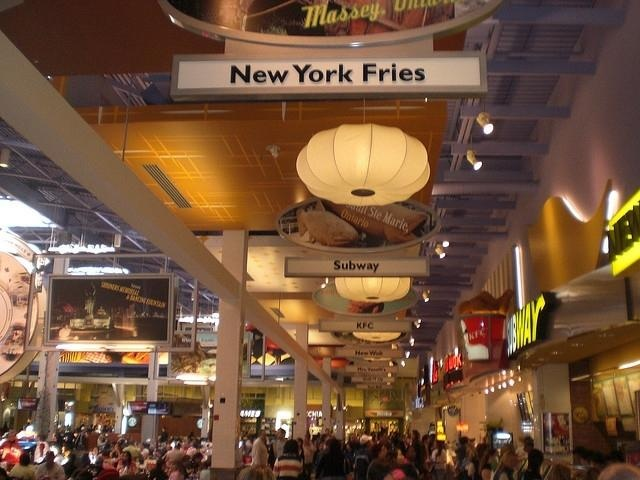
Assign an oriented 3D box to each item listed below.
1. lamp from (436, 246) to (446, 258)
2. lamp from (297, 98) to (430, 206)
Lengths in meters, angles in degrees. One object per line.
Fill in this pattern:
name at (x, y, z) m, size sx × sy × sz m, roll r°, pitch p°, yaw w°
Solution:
lamp at (3.885, 0.360, 17.378) m, size 0.284 × 0.152 × 0.422 m, roll 1°, pitch -38°, yaw 11°
lamp at (0.535, -1.013, 6.595) m, size 1.605 × 0.863 × 1.672 m, roll 8°, pitch 6°, yaw 21°
